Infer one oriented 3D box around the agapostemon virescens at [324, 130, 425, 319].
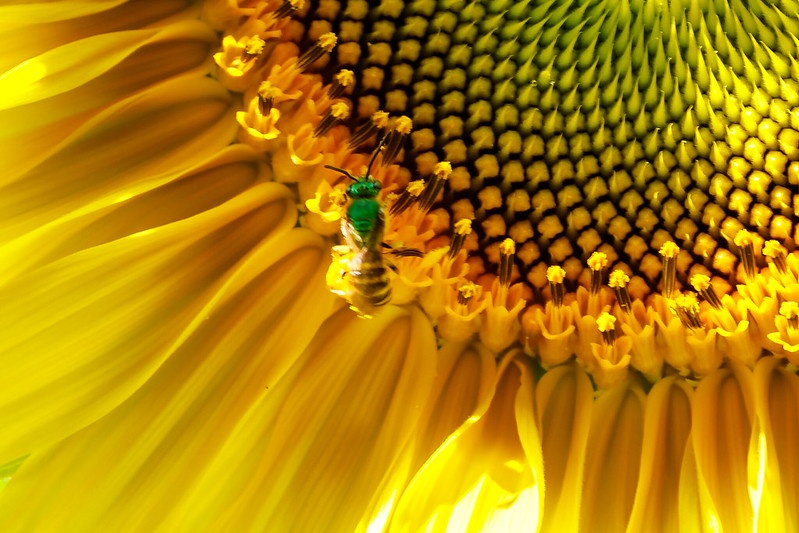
[{"bbox_3d":[-0.100,-0.058,2.442,0.176,0.350,0.359,-27,-68,31],"label":"agapostemon virescens"}]
